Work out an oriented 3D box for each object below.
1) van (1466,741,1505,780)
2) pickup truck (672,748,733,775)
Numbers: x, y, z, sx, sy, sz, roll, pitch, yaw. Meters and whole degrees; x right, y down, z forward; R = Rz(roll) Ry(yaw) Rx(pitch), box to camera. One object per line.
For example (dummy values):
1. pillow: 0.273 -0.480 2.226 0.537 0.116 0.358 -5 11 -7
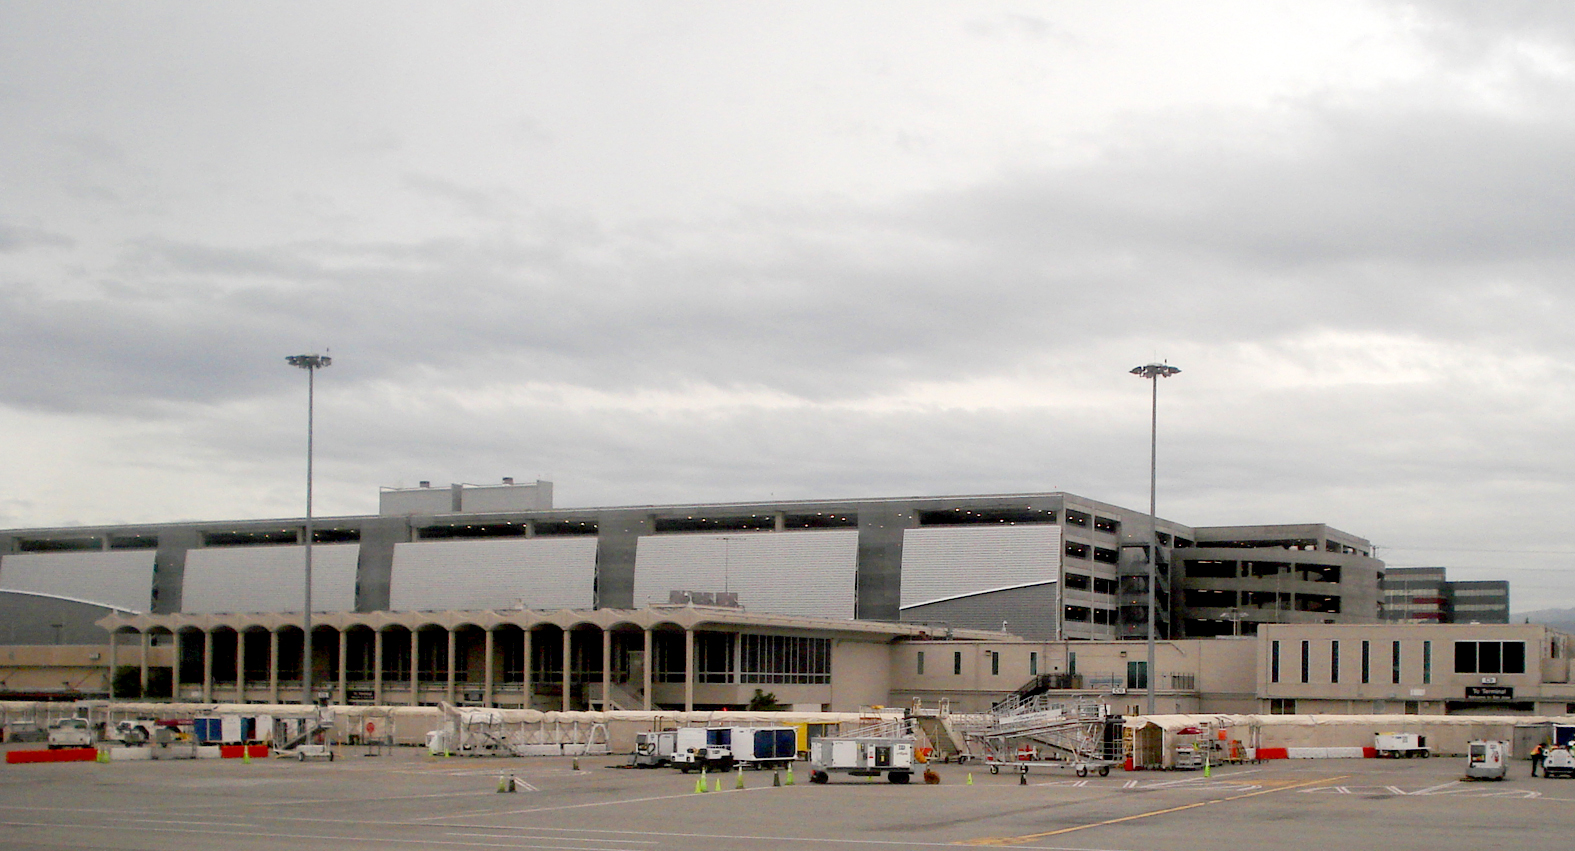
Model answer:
1. van: 62.446 30.287 179.783 3.506 2.565 5.527 -1 -4 20
2. pickup truck: -7.860 30.677 182.437 4.345 1.530 2.454 -1 -2 3
